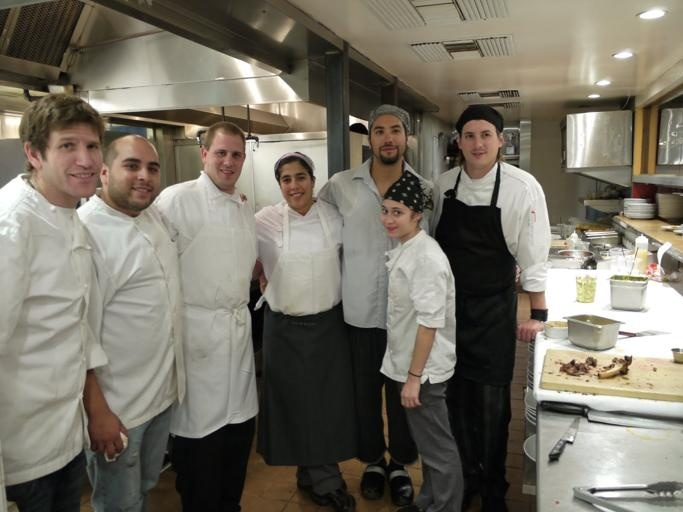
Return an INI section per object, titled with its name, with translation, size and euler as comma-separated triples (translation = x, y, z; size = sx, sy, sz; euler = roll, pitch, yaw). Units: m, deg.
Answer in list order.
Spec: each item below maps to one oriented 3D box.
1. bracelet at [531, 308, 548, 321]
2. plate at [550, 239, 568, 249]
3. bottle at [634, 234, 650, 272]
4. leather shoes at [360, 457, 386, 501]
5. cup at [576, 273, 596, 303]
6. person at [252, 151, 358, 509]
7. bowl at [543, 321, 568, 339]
[bracelet]
translation = 1.022, 0.301, 2.593
size = 0.065, 0.048, 0.068
euler = 1, 1, 26
[plate]
translation = 2.393, -0.130, 5.482
size = 0.168, 0.041, 0.160
euler = -3, 10, -6
[bottle]
translation = 2.166, -0.012, 3.597
size = 0.086, 0.260, 0.241
euler = 4, 7, 32
[leather shoes]
translation = 0.171, 1.253, 2.755
size = 0.088, 0.101, 0.249
euler = -2, -6, 9
[cup]
translation = 1.510, 0.194, 3.081
size = 0.114, 0.164, 0.207
euler = 3, 7, 25
[person]
translation = -0.202, 0.287, 2.661
size = 0.536, 1.631, 0.268
euler = -1, 6, -7
[bowl]
translation = 1.060, 0.354, 2.467
size = 0.105, 0.069, 0.201
euler = 3, 7, 23
